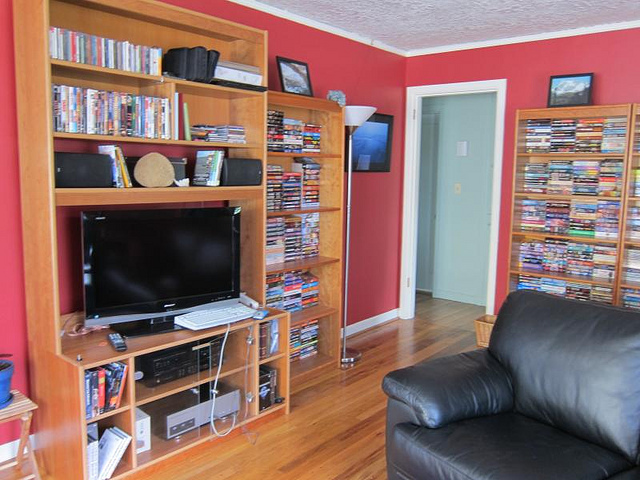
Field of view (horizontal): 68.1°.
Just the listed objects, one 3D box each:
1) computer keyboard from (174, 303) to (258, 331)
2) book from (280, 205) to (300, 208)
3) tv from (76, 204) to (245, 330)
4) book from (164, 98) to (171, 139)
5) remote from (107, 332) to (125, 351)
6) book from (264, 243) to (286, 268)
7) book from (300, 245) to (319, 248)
[{"bbox_3d":[-0.690,0.515,3.158,0.265,0.064,0.502,12,15,43],"label":"computer keyboard"},{"bbox_3d":[-0.258,-0.276,3.957,0.015,0.032,0.222,14,17,40],"label":"book"},{"bbox_3d":[-1.047,0.177,2.977,1.086,0.578,0.077,-3,8,-37],"label":"tv"},{"bbox_3d":[-0.941,-0.741,2.899,0.033,0.237,0.057,-2,15,-16],"label":"book"},{"bbox_3d":[-1.160,0.570,2.699,0.060,0.033,0.189,-5,19,-30],"label":"remote"},{"bbox_3d":[-0.343,0.137,3.936,0.072,0.126,0.206,13,10,25],"label":"book"},{"bbox_3d":[-0.106,0.060,4.232,0.251,0.028,0.017,3,-2,-40],"label":"book"}]
